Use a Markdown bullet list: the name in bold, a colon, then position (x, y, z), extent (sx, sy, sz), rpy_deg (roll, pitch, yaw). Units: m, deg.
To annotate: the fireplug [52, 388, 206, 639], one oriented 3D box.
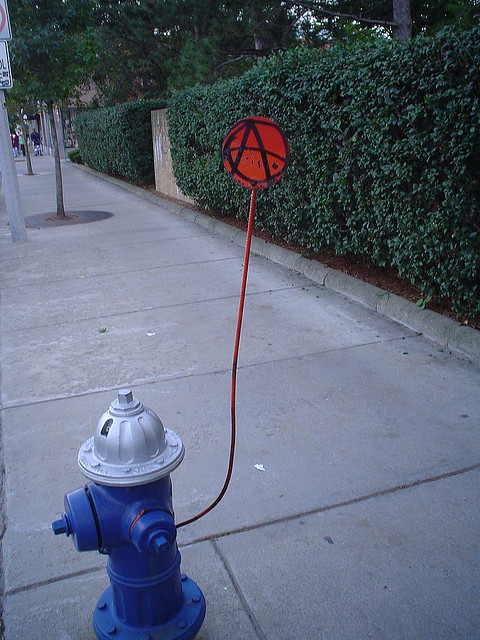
- **fireplug**: position (-0.336, 0.645, 1.657), extent (0.407, 0.904, 0.384), rpy_deg (3, 18, 12)
